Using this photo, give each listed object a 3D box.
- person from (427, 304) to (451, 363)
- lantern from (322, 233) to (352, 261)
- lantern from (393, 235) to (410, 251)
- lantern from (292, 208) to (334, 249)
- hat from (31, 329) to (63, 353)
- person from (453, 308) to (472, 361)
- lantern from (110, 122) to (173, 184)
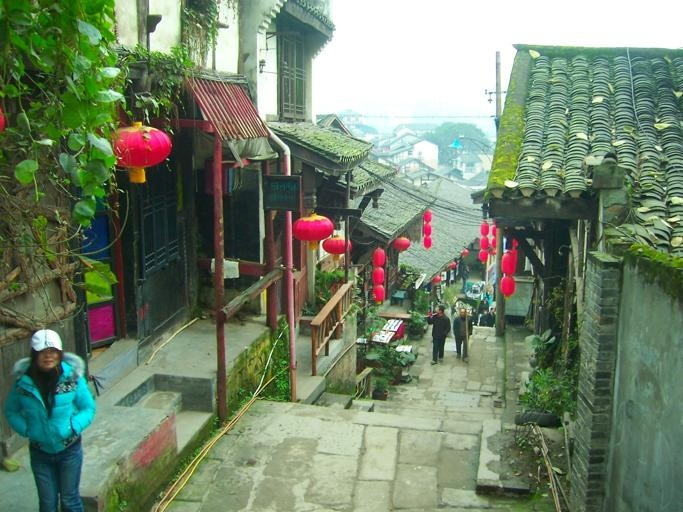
[{"bbox_3d":[2.467,1.910,20.096,0.442,1.601,1.460,4,11,7],"label":"person"},{"bbox_3d":[-0.038,-0.192,14.489,0.477,0.499,0.475,-3,2,-33],"label":"lantern"},{"bbox_3d":[1.573,-0.346,20.666,0.358,0.399,0.373,7,14,44],"label":"lantern"},{"bbox_3d":[-0.450,-0.458,12.387,0.495,0.535,0.540,1,11,25],"label":"lantern"},{"bbox_3d":[-2.696,0.777,7.319,0.233,0.207,0.397,1,-4,-15],"label":"hat"},{"bbox_3d":[3.030,1.909,20.270,0.413,1.468,1.477,4,11,8],"label":"person"},{"bbox_3d":[-2.229,-1.097,8.615,0.569,0.640,0.613,8,17,30],"label":"lantern"}]
